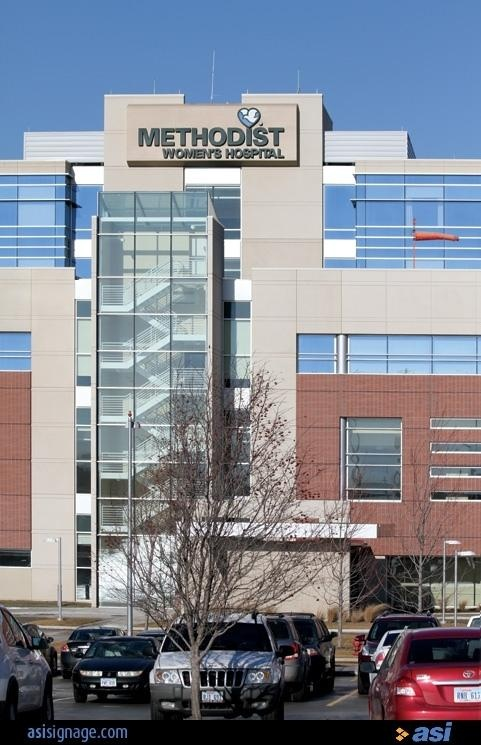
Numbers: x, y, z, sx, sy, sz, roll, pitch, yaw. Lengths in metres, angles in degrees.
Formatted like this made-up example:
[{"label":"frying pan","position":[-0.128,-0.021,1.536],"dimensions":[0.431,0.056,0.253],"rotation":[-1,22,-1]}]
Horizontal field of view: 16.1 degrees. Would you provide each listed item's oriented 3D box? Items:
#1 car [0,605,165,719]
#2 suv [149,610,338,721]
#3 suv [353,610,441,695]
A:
[{"label":"car","position":[-2.512,5.596,29.803],"dimensions":[1.860,1.435,3.393],"rotation":[0,-3,6]},{"label":"suv","position":[-0.266,4.536,26.034],"dimensions":[2.115,1.571,2.601],"rotation":[-2,-7,1]},{"label":"suv","position":[2.747,5.205,31.660],"dimensions":[1.098,1.057,2.619],"rotation":[0,4,5]}]
